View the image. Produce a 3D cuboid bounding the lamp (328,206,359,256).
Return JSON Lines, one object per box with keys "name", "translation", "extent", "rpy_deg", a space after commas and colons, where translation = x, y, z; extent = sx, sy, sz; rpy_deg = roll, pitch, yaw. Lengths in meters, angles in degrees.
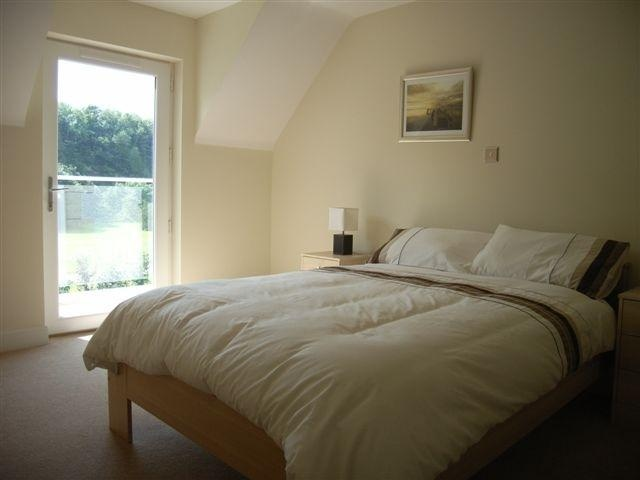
{"name": "lamp", "translation": [0.191, -0.069, 3.829], "extent": [0.235, 0.380, 0.262], "rpy_deg": [0, 9, 2]}
